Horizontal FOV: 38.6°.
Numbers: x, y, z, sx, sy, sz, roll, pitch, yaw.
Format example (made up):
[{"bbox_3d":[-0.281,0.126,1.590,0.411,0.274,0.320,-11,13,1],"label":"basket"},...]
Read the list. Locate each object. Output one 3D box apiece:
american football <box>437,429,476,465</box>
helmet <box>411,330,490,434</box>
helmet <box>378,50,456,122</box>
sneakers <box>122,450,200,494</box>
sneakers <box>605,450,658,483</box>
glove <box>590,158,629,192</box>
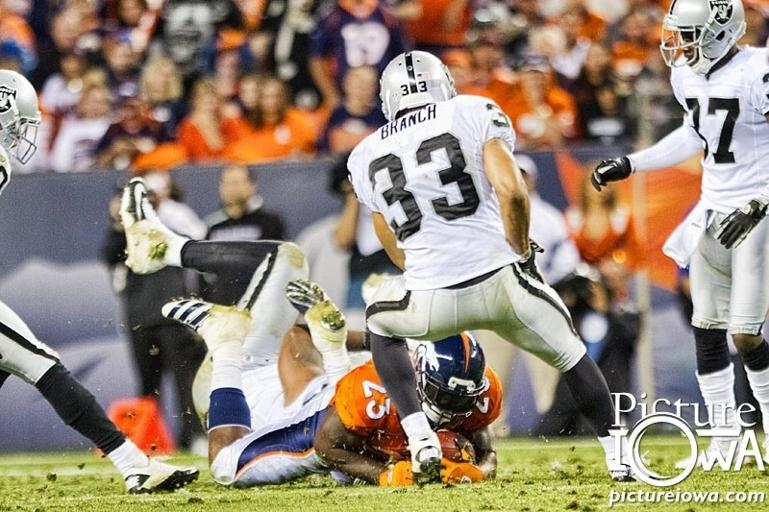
[{"bbox_3d":[0.412,1.093,6.260,0.223,0.206,0.172,1,6,6],"label":"american football"},{"bbox_3d":[0.374,0.654,6.271,0.414,0.458,0.557,13,31,-17],"label":"helmet"},{"bbox_3d":[0.191,-0.933,6.132,0.331,0.355,0.418,0,34,31],"label":"helmet"},{"bbox_3d":[-1.324,1.301,6.524,0.490,0.246,0.167,-8,36,-7],"label":"sneakers"},{"bbox_3d":[1.343,1.159,5.958,0.237,0.156,0.097,-4,-1,10],"label":"sneakers"},{"bbox_3d":[1.369,-0.492,6.637,0.255,0.183,0.123,-18,-14,2],"label":"glove"}]
